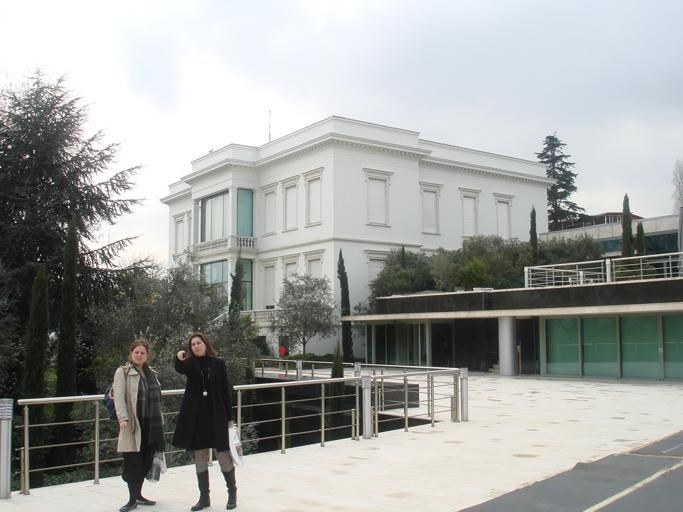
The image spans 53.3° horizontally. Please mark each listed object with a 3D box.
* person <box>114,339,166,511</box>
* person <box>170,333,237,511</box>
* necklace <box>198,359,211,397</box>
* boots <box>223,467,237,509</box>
[{"bbox_3d":[-3.037,2.505,10.221,0.782,2.477,0.361,4,-10,-27],"label":"person"},{"bbox_3d":[-2.022,2.461,10.242,0.938,2.607,0.418,1,-9,-15],"label":"person"},{"bbox_3d":[-2.047,1.841,10.221,0.128,0.481,0.080,-1,-22,1],"label":"necklace"},{"bbox_3d":[-1.651,3.467,10.168,0.199,0.571,0.359,0,-9,-9],"label":"boots"}]
